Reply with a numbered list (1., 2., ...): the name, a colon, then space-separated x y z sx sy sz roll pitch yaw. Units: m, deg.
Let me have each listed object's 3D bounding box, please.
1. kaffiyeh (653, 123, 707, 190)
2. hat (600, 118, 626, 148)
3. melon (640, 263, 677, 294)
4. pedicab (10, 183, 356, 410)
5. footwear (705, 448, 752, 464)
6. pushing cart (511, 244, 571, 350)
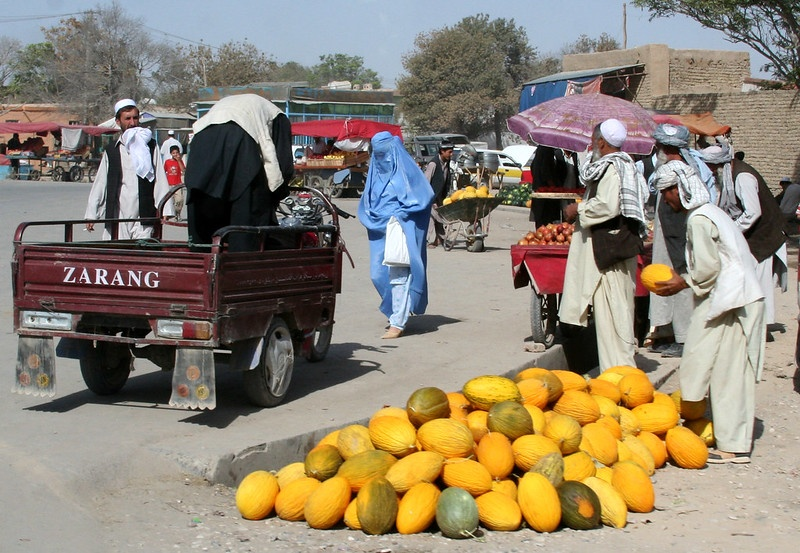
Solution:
1. kaffiyeh: 2.271 -0.977 6.560 0.404 0.506 0.350 -16 -26 36
2. hat: 1.920 -1.295 7.371 0.226 0.196 0.253 19 48 -11
3. melon: 2.066 0.028 6.543 0.257 0.202 0.201 -4 6 -18
4. pedicab: -1.731 0.164 7.490 2.146 1.611 3.097 1 5 11
5. footwear: 2.523 1.415 6.266 0.328 0.133 0.128 4 -4 -3
6. pushing cart: 1.513 0.118 8.681 0.606 1.099 0.682 14 19 33
